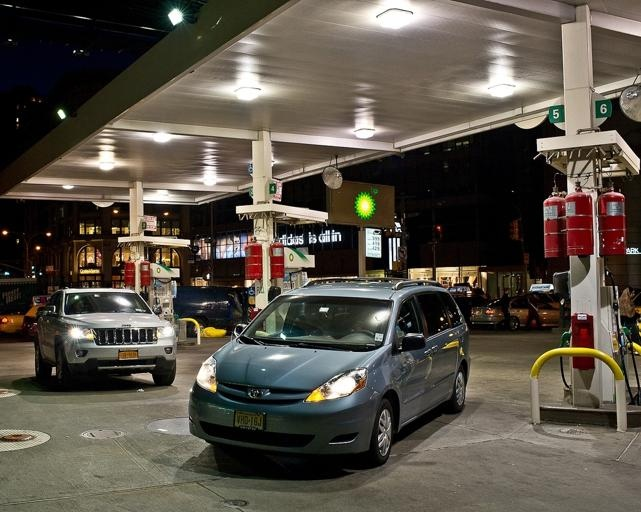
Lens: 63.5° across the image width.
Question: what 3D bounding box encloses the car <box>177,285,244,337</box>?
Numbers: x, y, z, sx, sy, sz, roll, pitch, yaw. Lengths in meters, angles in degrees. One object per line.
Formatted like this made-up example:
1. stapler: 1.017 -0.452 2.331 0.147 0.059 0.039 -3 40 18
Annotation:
1. car: -5.738 2.784 26.318 2.223 2.443 2.868 4 -3 -42
